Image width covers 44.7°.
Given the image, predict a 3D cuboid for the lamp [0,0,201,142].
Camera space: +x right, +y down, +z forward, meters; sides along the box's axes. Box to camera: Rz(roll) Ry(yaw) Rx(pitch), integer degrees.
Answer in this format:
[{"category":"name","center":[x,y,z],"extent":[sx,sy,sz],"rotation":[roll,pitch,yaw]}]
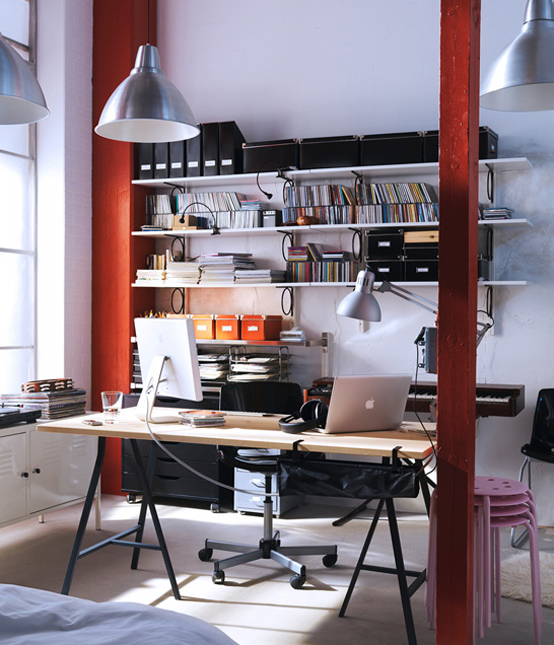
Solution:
[{"category":"lamp","center":[-1.122,-1.522,4.058],"extent":[1.329,0.684,0.577],"rotation":[1,3,3]}]

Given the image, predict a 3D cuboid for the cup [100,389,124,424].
[{"category":"cup","center":[-0.782,0.378,3.104],"extent":[0.121,0.172,0.135],"rotation":[-1,0,-4]}]

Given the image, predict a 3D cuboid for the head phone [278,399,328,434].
[{"category":"head phone","center":[0.111,0.411,2.858],"extent":[0.135,0.074,0.128],"rotation":[-25,0,-36]}]

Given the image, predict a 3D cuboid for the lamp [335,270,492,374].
[{"category":"lamp","center":[0.550,-0.011,2.751],"extent":[0.568,0.461,0.156],"rotation":[4,28,23]}]

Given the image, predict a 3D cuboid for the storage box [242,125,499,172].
[{"category":"storage box","center":[0.360,-1.089,4.327],"extent":[1.307,0.266,0.088],"rotation":[-1,-1,22]}]
